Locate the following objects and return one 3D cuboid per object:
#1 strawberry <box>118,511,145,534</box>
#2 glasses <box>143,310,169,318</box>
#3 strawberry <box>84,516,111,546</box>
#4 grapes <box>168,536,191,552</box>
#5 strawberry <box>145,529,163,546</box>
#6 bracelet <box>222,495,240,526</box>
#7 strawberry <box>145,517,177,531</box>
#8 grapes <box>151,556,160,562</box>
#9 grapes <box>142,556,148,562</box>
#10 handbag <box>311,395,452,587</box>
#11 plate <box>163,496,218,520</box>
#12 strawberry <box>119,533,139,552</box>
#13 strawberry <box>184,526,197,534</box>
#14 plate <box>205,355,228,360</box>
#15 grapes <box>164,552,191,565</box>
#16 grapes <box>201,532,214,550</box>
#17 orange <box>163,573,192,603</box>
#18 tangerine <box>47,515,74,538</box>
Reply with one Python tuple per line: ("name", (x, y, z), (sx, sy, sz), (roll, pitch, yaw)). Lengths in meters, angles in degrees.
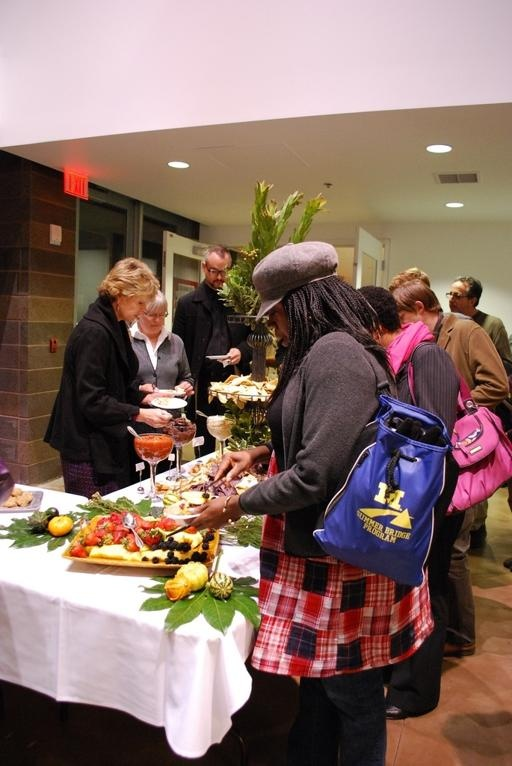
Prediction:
("strawberry", (-0.279, 0.316, 1.241), (0.039, 0.019, 0.147), (-1, 5, -18))
("glasses", (-0.513, -0.344, 2.793), (0.098, 0.031, 0.096), (0, 4, 25))
("strawberry", (-0.349, 0.326, 1.215), (0.043, 0.013, 0.049), (-10, 12, -4))
("grapes", (-0.158, 0.340, 1.168), (0.031, 0.012, 0.032), (7, 5, 3))
("strawberry", (-0.219, 0.328, 1.193), (0.037, 0.037, 0.032), (0, 12, -12))
("bracelet", (-0.042, 0.241, 1.041), (0.020, 0.038, 0.053), (24, 8, -7))
("strawberry", (-0.222, 0.331, 1.274), (0.053, 0.018, 0.033), (13, 15, -2))
("grapes", (-0.204, 0.359, 1.117), (0.010, 0.010, 0.005), (32, -17, 8))
("grapes", (-0.226, 0.360, 1.122), (0.008, 0.008, 0.003), (-6, -33, 6))
("handbag", (0.199, 0.174, 0.868), (0.176, 0.300, 0.142), (9, 6, 20))
("plate", (-0.146, 0.286, 1.253), (0.099, 0.036, 0.098), (-6, 1, -30))
("strawberry", (-0.262, 0.338, 1.167), (0.026, 0.020, 0.032), (19, 6, -24))
("strawberry", (-0.141, 0.327, 1.216), (0.033, 0.013, 0.033), (-25, -27, 38))
("plate", (-0.189, -0.125, 2.711), (0.096, 0.021, 0.094), (-2, 1, -23))
("grapes", (-0.160, 0.361, 1.124), (0.028, 0.011, 0.029), (6, 5, 10))
("grapes", (-0.104, 0.349, 1.212), (0.016, 0.015, 0.057), (-14, -3, 1))
("orange", (-0.146, 0.384, 1.028), (0.018, 0.034, 0.041), (18, -6, -42))
("tangerine", (-0.461, 0.342, 1.312), (0.050, 0.048, 0.048), (0, -7, 3))
